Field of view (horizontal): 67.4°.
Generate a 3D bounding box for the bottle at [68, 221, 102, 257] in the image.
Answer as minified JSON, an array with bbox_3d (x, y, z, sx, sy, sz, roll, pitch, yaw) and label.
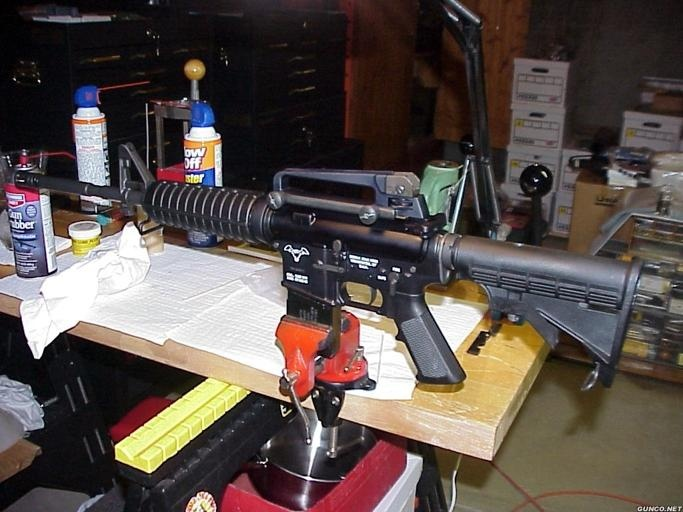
[{"bbox_3d":[-0.652,-0.037,1.315,0.074,0.067,0.072,-2,12,-3],"label":"bottle"}]
